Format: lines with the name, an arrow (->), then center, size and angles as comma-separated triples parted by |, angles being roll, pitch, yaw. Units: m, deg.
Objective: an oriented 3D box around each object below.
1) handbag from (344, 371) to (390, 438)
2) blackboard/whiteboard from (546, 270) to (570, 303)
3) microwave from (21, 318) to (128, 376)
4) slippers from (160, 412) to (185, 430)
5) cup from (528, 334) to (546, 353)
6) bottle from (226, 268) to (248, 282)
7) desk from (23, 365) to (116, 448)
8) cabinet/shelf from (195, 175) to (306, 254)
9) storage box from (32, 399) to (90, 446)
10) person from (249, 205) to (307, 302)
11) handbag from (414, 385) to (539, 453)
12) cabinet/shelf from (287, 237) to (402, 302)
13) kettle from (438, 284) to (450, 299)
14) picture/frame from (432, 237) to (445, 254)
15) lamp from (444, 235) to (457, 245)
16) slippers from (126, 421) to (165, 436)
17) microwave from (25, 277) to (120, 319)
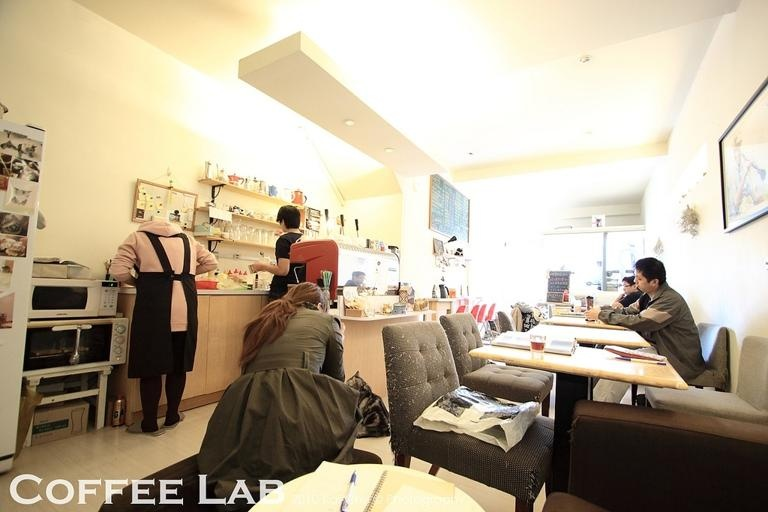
handbag -> -0.163, 1.448, 4.595 | 0.642, 0.245, 0.675 | -2, 5, -20
blackboard/whiteboard -> 3.467, 0.613, 9.545 | 0.465, 0.659, 0.205 | -2, -14, 34
microwave -> -2.937, 0.821, 4.458 | 0.864, 0.484, 0.553 | 3, -1, -38
slippers -> -1.998, 1.560, 4.494 | 0.069, 0.079, 0.203 | 4, 7, 19
cup -> 1.141, 0.651, 3.550 | 0.126, 0.132, 0.120 | 1, -2, 0
bottle -> -1.730, 0.221, 5.614 | 0.183, 0.119, 0.181 | 1, -7, 0
desk -> -2.929, 1.343, 4.498 | 0.773, 0.582, 0.800 | -12, -11, 35
cabinet/shelf -> -1.680, -0.486, 5.761 | 0.170, 0.489, 1.019 | -6, -10, 30
storage box -> -2.880, 1.471, 4.203 | 0.322, 0.201, 0.317 | 2, -2, -43
person -> -1.143, 0.218, 5.197 | 0.481, 1.485, 0.578 | 4, 1, 20
handbag -> 0.657, 1.168, 3.533 | 1.013, 0.236, 1.082 | 6, -8, -15
cabinet/shelf -> -0.400, 0.203, 6.019 | 0.575, 0.651, 1.630 | -2, -7, 28
kettle -> 1.023, 0.593, 8.210 | 0.160, 0.212, 0.686 | 1, -3, 7
picture/frame -> 0.936, -0.184, 8.395 | 0.038, 0.173, 0.293 | -2, -4, 32
lamp -> 1.214, -0.293, 8.640 | 0.304, 0.096, 0.054 | -39, -5, -3
slippers -> -2.204, 1.590, 4.355 | 0.343, 0.092, 0.133 | 5, -6, 0
microwave -> -2.940, 0.491, 4.496 | 0.708, 0.434, 0.486 | 3, -27, -32
